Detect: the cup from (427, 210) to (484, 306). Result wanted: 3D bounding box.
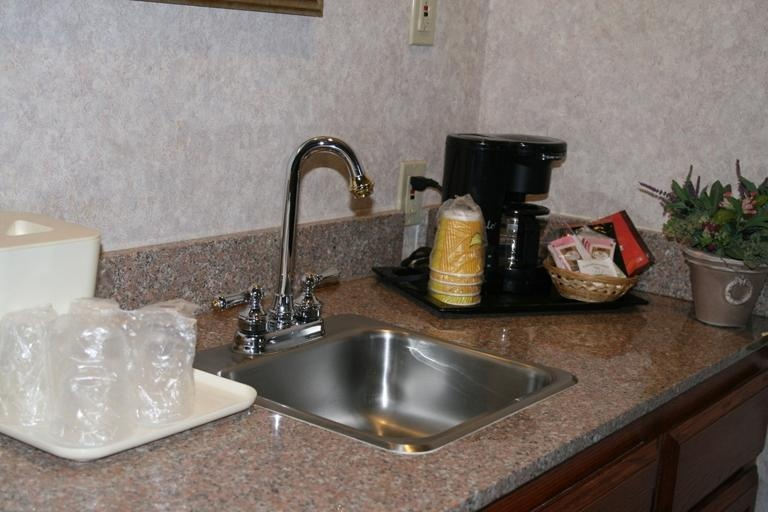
[{"bbox_3d":[0.175,0.009,1.549,0.130,0.208,0.105,3,16,5],"label":"cup"}]

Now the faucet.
[{"bbox_3d":[-0.154,-0.066,1.412,0.212,0.394,0.333,-2,16,-9],"label":"faucet"}]

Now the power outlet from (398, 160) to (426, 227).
[{"bbox_3d":[0.072,-0.174,1.837,0.027,0.185,0.101,21,23,37],"label":"power outlet"}]
